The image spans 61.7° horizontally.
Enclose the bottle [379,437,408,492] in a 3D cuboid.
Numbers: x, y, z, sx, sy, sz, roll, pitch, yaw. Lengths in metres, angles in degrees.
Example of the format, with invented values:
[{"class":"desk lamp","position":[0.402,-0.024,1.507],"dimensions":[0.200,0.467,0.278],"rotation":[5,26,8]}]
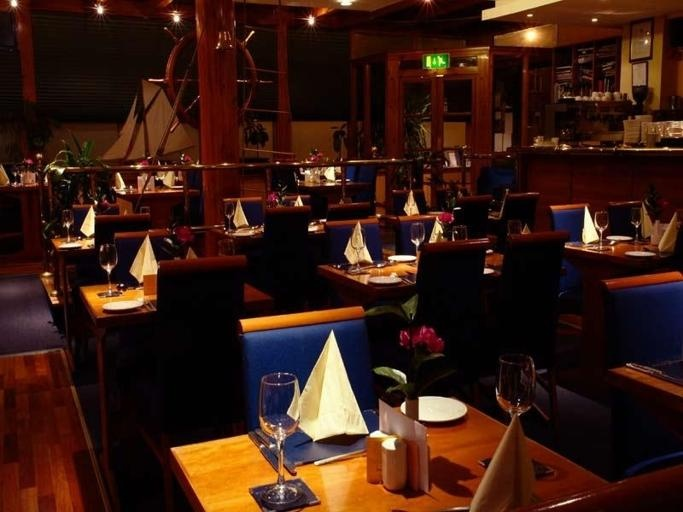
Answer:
[{"class":"bottle","position":[0.127,0.503,1.385],"dimensions":[0.054,0.120,0.040],"rotation":[-10,10,-31]}]

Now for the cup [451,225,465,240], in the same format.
[{"class":"cup","position":[0.708,-0.140,3.447],"dimensions":[0.078,0.092,0.083],"rotation":[0,11,0]}]

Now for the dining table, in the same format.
[{"class":"dining table","position":[-2.246,0.122,4.665],"dimensions":[0.378,0.370,0.556],"rotation":[-4,19,-29]}]

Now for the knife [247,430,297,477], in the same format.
[{"class":"knife","position":[-0.195,0.518,1.578],"dimensions":[0.054,0.025,0.207],"rotation":[-4,16,-28]}]

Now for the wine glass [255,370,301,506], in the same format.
[{"class":"wine glass","position":[-0.157,0.436,1.436],"dimensions":[0.104,0.254,0.244],"rotation":[-6,9,-6]}]
